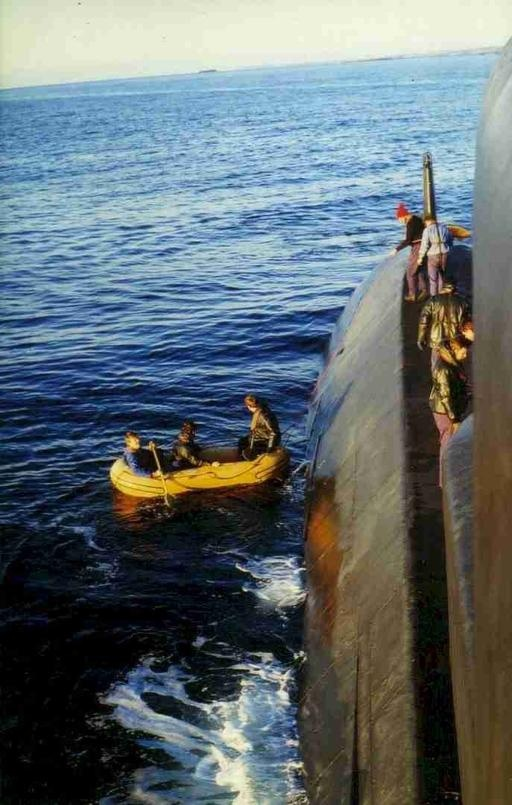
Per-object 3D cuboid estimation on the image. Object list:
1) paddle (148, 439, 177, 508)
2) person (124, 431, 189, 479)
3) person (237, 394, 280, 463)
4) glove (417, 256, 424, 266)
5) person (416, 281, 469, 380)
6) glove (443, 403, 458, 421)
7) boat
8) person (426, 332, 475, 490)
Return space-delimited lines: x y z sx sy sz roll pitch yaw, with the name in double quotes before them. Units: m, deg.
"paddle" -1.635 1.206 17.569 0.252 0.176 1.561 -22 63 6
"person" -1.760 0.861 17.695 0.989 0.506 0.649 7 28 19
"person" 0.024 0.524 18.978 0.676 1.129 0.780 0 42 11
"glove" 2.746 -2.398 17.323 0.075 0.096 0.039 32 52 24
"person" 2.395 -0.883 13.015 0.605 1.303 0.320 3 -7 -1
"glove" 2.252 0.115 11.959 0.162 0.177 0.051 -15 13 47
"boat" -0.966 1.293 17.854 2.147 0.526 1.185 -7 12 -6
"person" 2.073 0.096 11.091 0.544 1.942 0.977 -3 42 7
